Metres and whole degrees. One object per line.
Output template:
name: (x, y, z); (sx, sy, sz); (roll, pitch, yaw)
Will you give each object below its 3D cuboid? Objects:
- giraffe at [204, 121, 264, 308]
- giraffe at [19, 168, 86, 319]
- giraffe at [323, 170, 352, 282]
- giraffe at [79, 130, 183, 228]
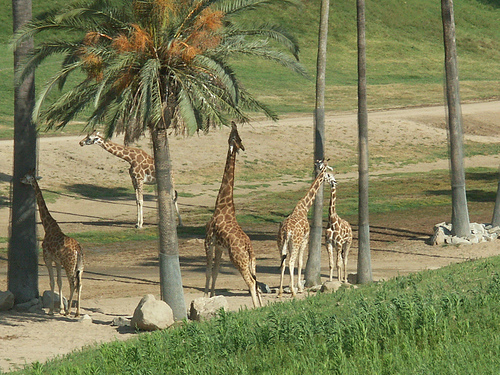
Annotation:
giraffe: (-0.817, 1.167, 56.377); (2.414, 7.475, 4.106); (-2, 14, -2)
giraffe: (-7.760, 2.011, 57.012); (2.569, 6.606, 2.603); (-6, 7, -28)
giraffe: (3.793, 1.772, 58.746); (1.220, 4.660, 1.040); (-1, 6, 23)
giraffe: (-5.842, -0.509, 67.526); (2.396, 4.859, 4.095); (8, 17, 34)
